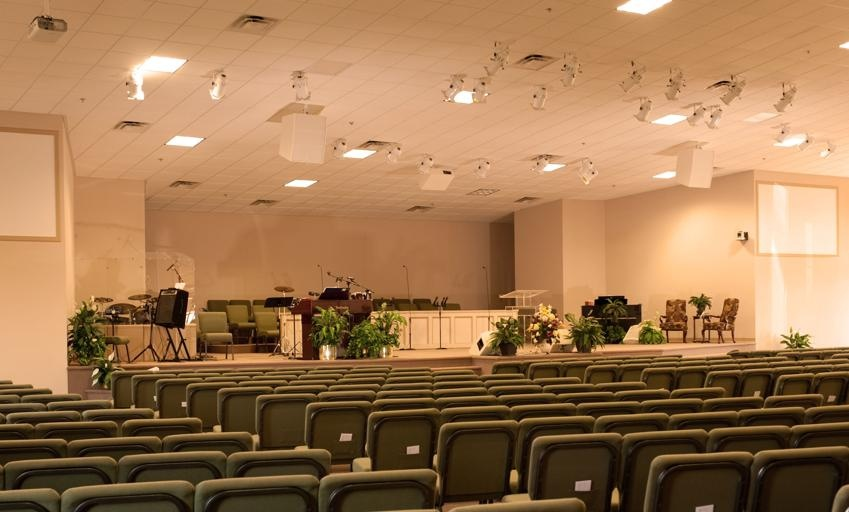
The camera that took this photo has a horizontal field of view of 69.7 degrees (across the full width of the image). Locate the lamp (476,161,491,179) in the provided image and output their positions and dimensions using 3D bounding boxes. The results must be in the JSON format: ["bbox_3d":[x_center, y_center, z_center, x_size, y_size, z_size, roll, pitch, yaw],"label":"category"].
[{"bbox_3d":[1.587,-2.292,15.960,0.335,0.347,0.484,29,-1,13],"label":"lamp"}]

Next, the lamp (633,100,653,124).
[{"bbox_3d":[4.309,-2.875,12.086,0.224,0.358,0.332,14,15,-14],"label":"lamp"}]

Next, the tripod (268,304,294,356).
[{"bbox_3d":[-3.596,1.992,15.725,0.853,1.081,0.812,3,-13,-27],"label":"tripod"}]

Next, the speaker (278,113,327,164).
[{"bbox_3d":[-2.277,-2.142,11.579,0.953,0.947,0.906,2,0,-18],"label":"speaker"}]

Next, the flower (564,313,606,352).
[{"bbox_3d":[3.679,1.764,13.987,0.915,0.715,0.891,-3,-10,27],"label":"flower"}]

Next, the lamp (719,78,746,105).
[{"bbox_3d":[5.617,-2.984,11.124,0.354,0.433,0.445,-5,-7,31],"label":"lamp"}]

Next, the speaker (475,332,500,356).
[{"bbox_3d":[1.300,1.919,13.284,0.512,0.424,0.483,0,-13,-26],"label":"speaker"}]

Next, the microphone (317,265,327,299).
[{"bbox_3d":[-3.914,0.819,22.913,0.303,0.999,0.155,4,-7,-39],"label":"microphone"}]

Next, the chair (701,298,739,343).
[{"bbox_3d":[8.594,1.881,17.891,1.082,1.261,1.325,-5,-7,36],"label":"chair"}]

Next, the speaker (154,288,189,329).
[{"bbox_3d":[-5.464,1.128,13.173,0.549,0.728,0.624,-1,-15,18],"label":"speaker"}]

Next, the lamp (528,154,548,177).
[{"bbox_3d":[3.003,-2.411,15.850,0.342,0.428,0.172,6,5,38],"label":"lamp"}]

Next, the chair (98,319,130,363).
[{"bbox_3d":[-6.675,1.825,13.086,0.636,0.787,0.595,-1,-9,24],"label":"chair"}]

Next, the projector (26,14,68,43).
[{"bbox_3d":[-4.870,-2.935,7.872,0.410,0.318,0.393,2,-7,-24],"label":"projector"}]

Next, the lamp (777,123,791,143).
[{"bbox_3d":[8.151,-2.812,13.880,0.252,0.258,0.420,-3,17,28],"label":"lamp"}]

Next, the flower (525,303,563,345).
[{"bbox_3d":[2.671,1.584,13.941,0.688,0.801,0.778,8,14,41],"label":"flower"}]

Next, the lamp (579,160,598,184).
[{"bbox_3d":[4.425,-2.302,16.583,0.403,0.668,0.537,-14,-5,36],"label":"lamp"}]

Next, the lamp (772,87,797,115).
[{"bbox_3d":[6.961,-3.030,11.822,0.249,0.199,0.360,-42,4,-13],"label":"lamp"}]

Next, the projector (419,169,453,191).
[{"bbox_3d":[0.238,-2.141,16.553,0.690,0.384,0.628,3,-35,-23],"label":"projector"}]

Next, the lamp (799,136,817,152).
[{"bbox_3d":[9.036,-2.694,14.596,0.419,0.376,0.277,0,16,-20],"label":"lamp"}]

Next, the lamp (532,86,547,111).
[{"bbox_3d":[2.054,-2.846,11.009,0.219,0.380,0.225,-2,-6,9],"label":"lamp"}]

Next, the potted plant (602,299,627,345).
[{"bbox_3d":[5.614,1.898,18.105,0.700,1.275,1.277,-3,-6,17],"label":"potted plant"}]

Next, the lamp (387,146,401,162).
[{"bbox_3d":[-0.706,-2.398,14.365,0.292,0.298,0.340,-3,14,-42],"label":"lamp"}]

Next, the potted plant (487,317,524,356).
[{"bbox_3d":[1.752,1.796,13.270,0.771,0.735,0.729,-3,-8,2],"label":"potted plant"}]

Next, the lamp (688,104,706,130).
[{"bbox_3d":[5.438,-2.812,12.211,0.299,0.414,0.949,-4,-7,27],"label":"lamp"}]

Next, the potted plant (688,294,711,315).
[{"bbox_3d":[8.395,1.456,18.454,0.646,0.594,0.645,-3,-9,41],"label":"potted plant"}]

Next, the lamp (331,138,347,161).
[{"bbox_3d":[-1.958,-2.425,13.761,0.269,0.439,0.463,4,-7,-38],"label":"lamp"}]

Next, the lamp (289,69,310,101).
[{"bbox_3d":[-2.174,-2.937,10.559,0.366,0.451,0.135,-15,7,-17],"label":"lamp"}]

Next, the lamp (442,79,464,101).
[{"bbox_3d":[0.508,-2.933,10.916,0.367,0.400,0.614,-1,-6,3],"label":"lamp"}]

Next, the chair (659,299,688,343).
[{"bbox_3d":[7.600,1.962,18.705,0.847,1.297,2.024,-3,-7,22],"label":"chair"}]

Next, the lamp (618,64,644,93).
[{"bbox_3d":[3.567,-3.033,10.512,0.306,0.468,0.145,41,24,16],"label":"lamp"}]

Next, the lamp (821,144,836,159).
[{"bbox_3d":[10.135,-2.607,15.346,0.272,0.189,0.827,13,5,18],"label":"lamp"}]

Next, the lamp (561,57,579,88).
[{"bbox_3d":[2.456,-3.051,10.354,0.312,0.372,0.810,-2,-7,13],"label":"lamp"}]

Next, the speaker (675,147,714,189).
[{"bbox_3d":[6.405,-2.053,14.242,0.965,0.912,0.935,-5,10,-30],"label":"speaker"}]
